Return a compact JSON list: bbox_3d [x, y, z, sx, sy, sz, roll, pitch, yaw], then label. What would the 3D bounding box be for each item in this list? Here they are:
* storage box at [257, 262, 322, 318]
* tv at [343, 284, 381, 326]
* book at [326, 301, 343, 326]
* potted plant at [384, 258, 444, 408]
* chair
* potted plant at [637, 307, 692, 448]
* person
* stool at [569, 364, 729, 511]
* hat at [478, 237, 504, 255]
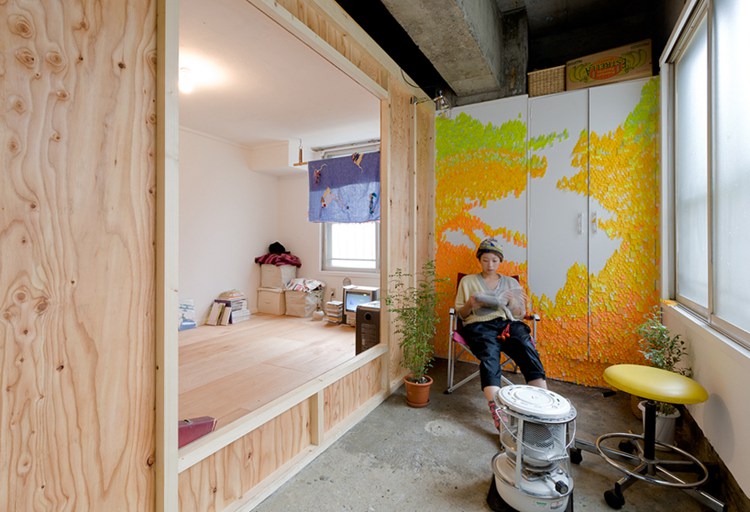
[{"bbox_3d":[-1.066,0.413,6.896,1.006,0.646,0.471,1,2,31],"label":"storage box"},{"bbox_3d":[-0.155,0.534,6.040,0.350,0.472,0.259,6,23,15],"label":"tv"},{"bbox_3d":[-0.503,0.654,6.185,0.208,0.241,0.225,1,3,25],"label":"book"},{"bbox_3d":[0.349,0.589,4.468,0.369,1.076,0.905,0,2,16],"label":"potted plant"},{"bbox_3d":[0.964,0.629,4.495,0.750,0.963,0.661,2,-4,4],"label":"chair"},{"bbox_3d":[2.019,0.903,3.752,0.224,0.590,0.213,13,7,19],"label":"potted plant"},{"bbox_3d":[0.939,0.525,3.955,0.573,1.306,0.815,-1,2,-2],"label":"person"},{"bbox_3d":[1.691,1.107,3.255,0.799,0.740,0.806,-11,16,-30],"label":"stool"},{"bbox_3d":[0.915,-0.079,4.140,0.207,0.110,0.149,-1,-3,16],"label":"hat"}]
